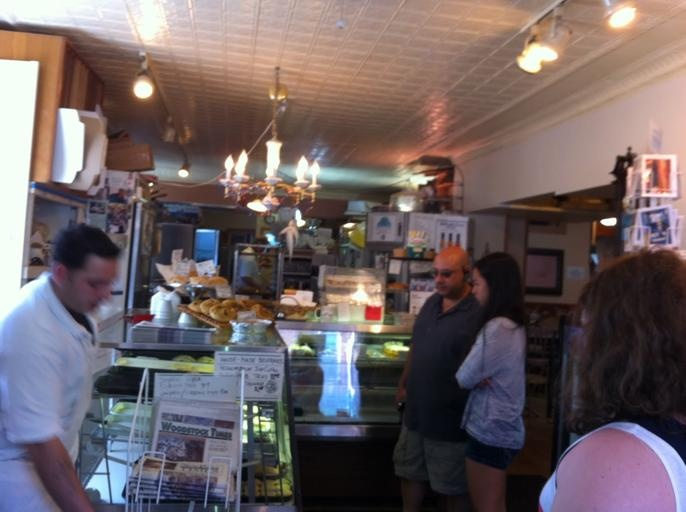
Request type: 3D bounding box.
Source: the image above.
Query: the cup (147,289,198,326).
[{"bbox_3d":[-1.004,0.287,3.089,0.207,0.180,0.268,1,1,-19],"label":"cup"}]

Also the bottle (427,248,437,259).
[{"bbox_3d":[1.043,-0.037,6.200,0.110,0.071,0.104,1,-6,0],"label":"bottle"}]

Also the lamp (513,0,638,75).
[{"bbox_3d":[1.535,-1.446,3.494,0.615,0.297,0.188,-18,-39,32],"label":"lamp"}]

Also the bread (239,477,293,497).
[{"bbox_3d":[-0.277,0.931,2.143,0.167,0.065,0.064,2,-3,9],"label":"bread"}]

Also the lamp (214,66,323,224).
[{"bbox_3d":[-0.869,-1.307,6.154,1.342,1.747,1.115,0,-4,31],"label":"lamp"}]

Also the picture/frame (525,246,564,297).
[{"bbox_3d":[2.984,0.229,7.962,0.834,0.745,0.078,1,-1,-19],"label":"picture/frame"}]

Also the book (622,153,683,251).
[{"bbox_3d":[1.844,-0.326,3.166,0.267,0.575,0.498,4,-3,-11],"label":"book"}]

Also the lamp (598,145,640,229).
[{"bbox_3d":[1.885,-0.460,3.635,0.166,0.581,0.458,4,-8,28],"label":"lamp"}]

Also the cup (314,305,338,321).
[{"bbox_3d":[-0.119,0.390,3.851,0.143,0.127,0.099,1,1,11],"label":"cup"}]

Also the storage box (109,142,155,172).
[{"bbox_3d":[-1.895,-0.863,4.828,0.494,0.297,0.253,0,-5,-9],"label":"storage box"}]

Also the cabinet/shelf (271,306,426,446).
[{"bbox_3d":[-0.034,0.775,3.976,1.504,1.005,0.760,1,-2,-10],"label":"cabinet/shelf"}]

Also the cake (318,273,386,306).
[{"bbox_3d":[0.082,0.258,4.157,0.406,0.245,0.268,0,2,4],"label":"cake"}]
